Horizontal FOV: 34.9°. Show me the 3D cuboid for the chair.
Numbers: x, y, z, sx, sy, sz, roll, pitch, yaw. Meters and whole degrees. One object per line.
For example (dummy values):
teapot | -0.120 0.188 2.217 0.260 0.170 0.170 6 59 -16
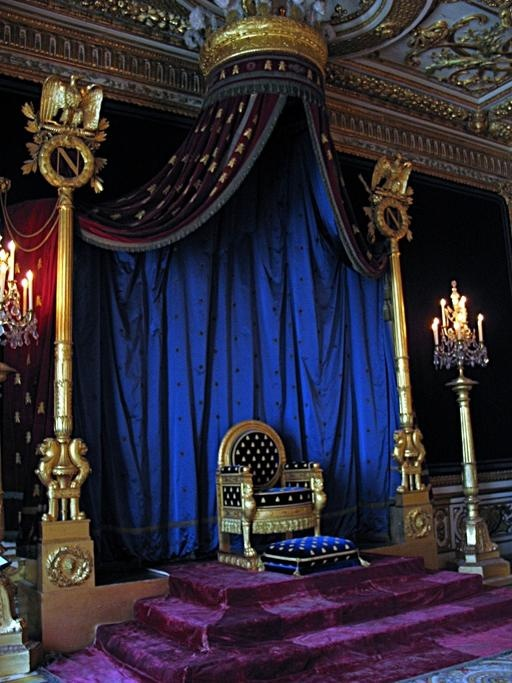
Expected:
chair | 0.076 0.868 4.779 0.599 0.788 0.459 2 -7 -37
